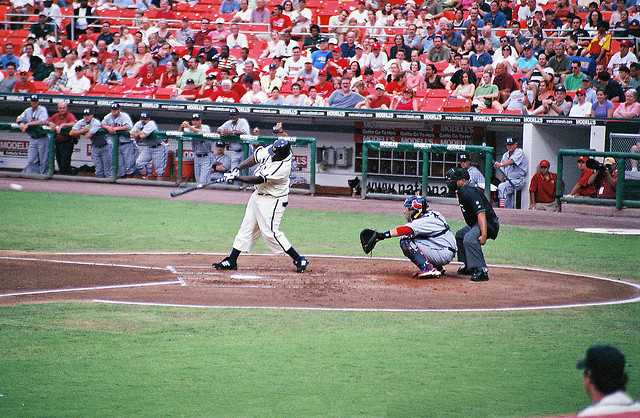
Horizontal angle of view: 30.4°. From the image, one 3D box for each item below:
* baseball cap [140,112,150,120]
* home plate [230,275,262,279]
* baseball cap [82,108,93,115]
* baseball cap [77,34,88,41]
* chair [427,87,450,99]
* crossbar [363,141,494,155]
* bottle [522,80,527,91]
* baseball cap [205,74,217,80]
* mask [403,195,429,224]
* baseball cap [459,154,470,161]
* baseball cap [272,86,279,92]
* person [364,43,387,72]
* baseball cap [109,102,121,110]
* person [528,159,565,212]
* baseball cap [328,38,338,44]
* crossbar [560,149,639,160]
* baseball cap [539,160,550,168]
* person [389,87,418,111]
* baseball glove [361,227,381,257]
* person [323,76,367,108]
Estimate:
[{"bbox_3d":[-5.066,-2.697,33.953,0.268,0.171,0.355,6,8,9],"label":"baseball cap"},{"bbox_3d":[-1.586,1.411,24.880,0.630,0.042,0.239,1,1,-5],"label":"home plate"},{"bbox_3d":[-6.771,-2.837,34.263,0.267,0.165,0.347,3,0,1],"label":"baseball cap"},{"bbox_3d":[-7.795,-5.604,38.569,0.421,0.152,0.379,-1,30,5],"label":"baseball cap"},{"bbox_3d":[3.275,-3.262,32.854,0.597,0.244,0.178,2,1,40],"label":"chair"},{"bbox_3d":[2.891,-1.727,32.303,3.783,0.265,0.582,2,1,32],"label":"crossbar"},{"bbox_3d":[5.494,-3.339,31.829,0.119,0.230,0.201,1,1,-7],"label":"bottle"},{"bbox_3d":[-3.223,-3.916,34.851,0.349,0.169,0.271,1,1,-31],"label":"baseball cap"},{"bbox_3d":[2.098,-0.014,25.154,0.642,0.560,0.496,-6,3,30],"label":"mask"},{"bbox_3d":[3.751,-1.370,31.004,0.347,0.101,0.236,3,-5,-45],"label":"baseball cap"},{"bbox_3d":[-1.306,-3.475,33.977,0.231,0.151,0.219,2,-4,-13],"label":"baseball cap"},{"bbox_3d":[1.570,-4.365,34.327,0.696,0.884,0.875,2,10,26],"label":"person"},{"bbox_3d":[-5.942,-2.986,34.095,0.244,0.162,0.321,-1,8,-5],"label":"baseball cap"},{"bbox_3d":[5.824,-0.633,31.034,0.689,1.121,0.621,2,1,8],"label":"person"},{"bbox_3d":[0.345,-5.025,35.131,0.262,0.135,0.320,1,1,-1],"label":"baseball cap"},{"bbox_3d":[7.109,-1.413,29.917,2.114,0.205,0.451,2,1,38],"label":"crossbar"},{"bbox_3d":[5.880,-1.222,31.098,0.239,0.160,0.435,1,1,6],"label":"baseball cap"},{"bbox_3d":[2.320,-3.071,32.930,0.709,0.853,0.549,4,-8,35],"label":"person"},{"bbox_3d":[1.029,0.663,24.860,0.222,0.372,0.531,14,-47,-25],"label":"baseball glove"},{"bbox_3d":[0.739,-3.200,33.413,1.272,0.900,0.514,-2,-12,-3],"label":"person"}]
